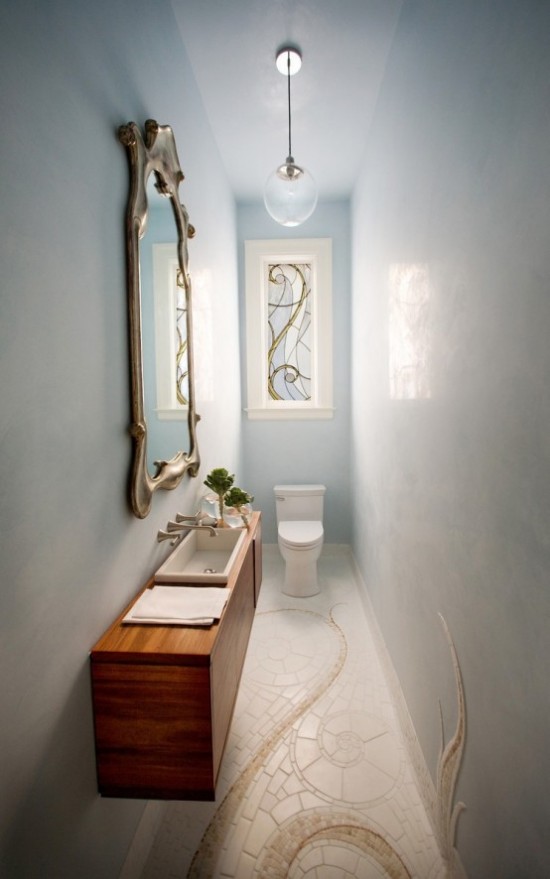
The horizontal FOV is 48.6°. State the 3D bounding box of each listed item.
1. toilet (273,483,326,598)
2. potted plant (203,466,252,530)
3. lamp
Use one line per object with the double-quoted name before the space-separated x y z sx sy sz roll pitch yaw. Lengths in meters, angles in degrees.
"toilet" 0.137 0.525 3.284 0.230 0.498 0.493 -1 9 -2
"potted plant" -0.188 0.231 2.433 0.178 0.260 0.194 2 -2 -35
"lamp" 0.051 -1.143 2.441 0.195 0.548 0.603 -1 9 -3
